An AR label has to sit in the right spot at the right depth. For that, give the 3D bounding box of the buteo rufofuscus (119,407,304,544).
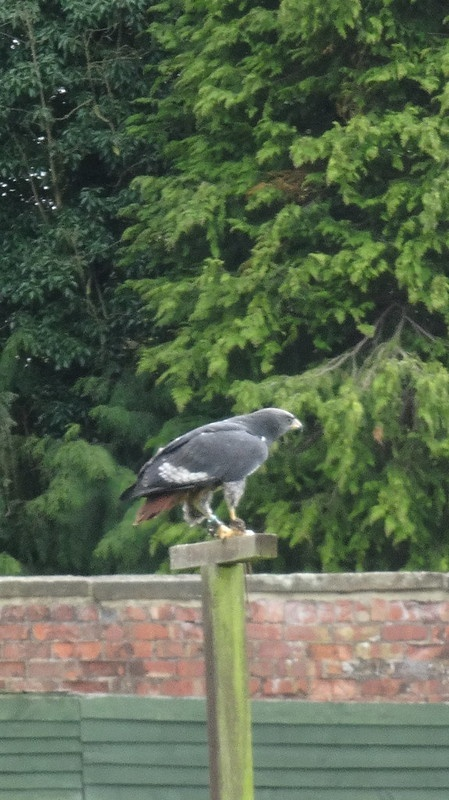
[{"bbox_3d":[-0.062,0.500,14.888,1.103,1.069,0.570,8,-17,-14],"label":"buteo rufofuscus"}]
